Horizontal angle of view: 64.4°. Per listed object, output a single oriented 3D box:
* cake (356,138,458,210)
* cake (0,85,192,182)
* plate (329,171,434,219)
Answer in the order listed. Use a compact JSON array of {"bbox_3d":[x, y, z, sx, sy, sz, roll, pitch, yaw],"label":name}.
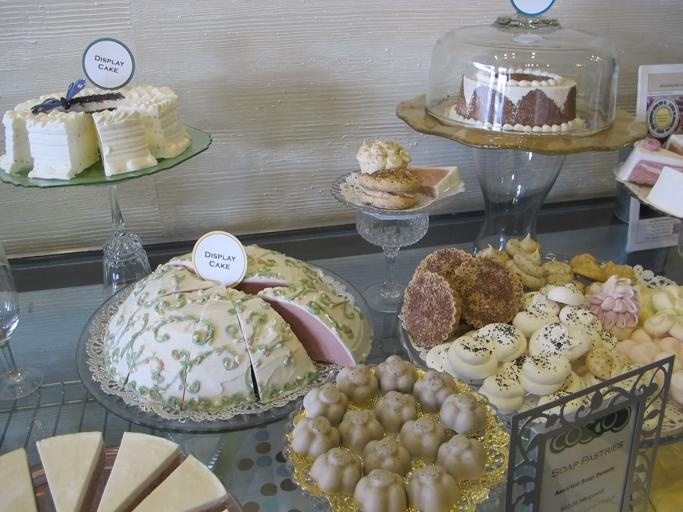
[{"bbox_3d":[0.146,-0.217,1.564,0.231,0.122,0.239,-11,27,-21],"label":"cake"},{"bbox_3d":[-0.659,-0.364,1.512,0.338,0.119,0.354,6,31,13],"label":"cake"},{"bbox_3d":[0.118,-0.222,1.670,0.228,0.043,0.232,8,0,-23],"label":"plate"}]
